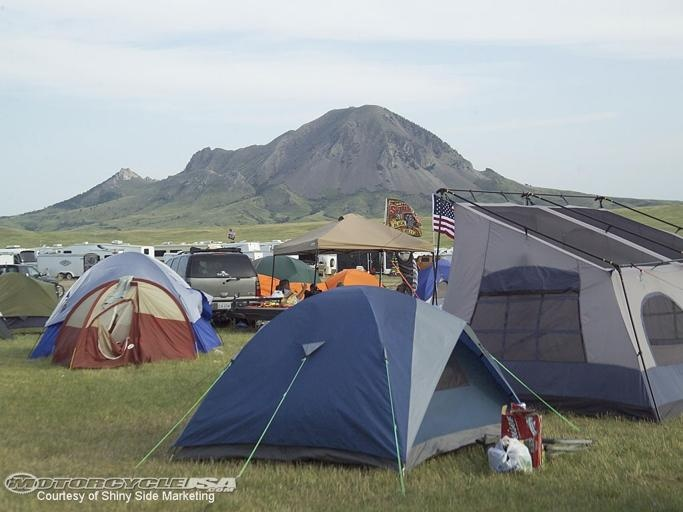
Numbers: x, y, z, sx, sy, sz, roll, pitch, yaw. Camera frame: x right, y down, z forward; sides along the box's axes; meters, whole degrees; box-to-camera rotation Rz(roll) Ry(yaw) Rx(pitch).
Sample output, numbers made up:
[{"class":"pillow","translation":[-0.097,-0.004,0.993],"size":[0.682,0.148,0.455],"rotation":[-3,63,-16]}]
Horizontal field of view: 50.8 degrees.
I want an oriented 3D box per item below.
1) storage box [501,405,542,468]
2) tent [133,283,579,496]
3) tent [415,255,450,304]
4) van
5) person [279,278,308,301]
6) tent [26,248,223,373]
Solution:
[{"class":"storage box","translation":[2.308,2.293,9.261],"size":[0.496,0.703,0.582],"rotation":[-2,-15,7]},{"class":"tent","translation":[0.145,1.692,9.431],"size":[3.107,1.383,3.214],"rotation":[-4,-4,41]},{"class":"tent","translation":[3.048,0.652,23.491],"size":[1.362,0.705,1.386],"rotation":[-4,11,-8]},{"class":"van","translation":[-3.654,0.551,20.236],"size":[1.429,1.471,2.564],"rotation":[-1,7,-25]},{"class":"person","translation":[-1.388,1.035,21.700],"size":[0.775,0.539,0.783],"rotation":[1,-3,-17]},{"class":"tent","translation":[-4.946,0.890,16.030],"size":[2.773,1.537,2.757],"rotation":[-1,1,-37]}]
